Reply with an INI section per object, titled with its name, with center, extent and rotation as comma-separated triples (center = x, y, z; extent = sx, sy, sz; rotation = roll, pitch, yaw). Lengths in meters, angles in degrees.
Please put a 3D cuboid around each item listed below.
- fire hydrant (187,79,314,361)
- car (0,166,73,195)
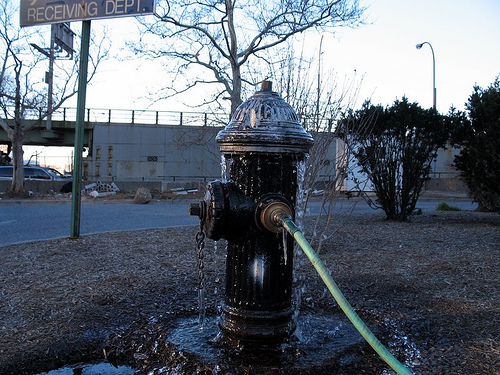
[fire hydrant]
center = 0.035, 0.267, 3.923
extent = 0.911, 2.154, 0.631
rotation = 1, 6, 6
[car]
center = -11.445, -0.306, 24.840
extent = 2.853, 1.327, 1.415
rotation = -1, 6, -8
